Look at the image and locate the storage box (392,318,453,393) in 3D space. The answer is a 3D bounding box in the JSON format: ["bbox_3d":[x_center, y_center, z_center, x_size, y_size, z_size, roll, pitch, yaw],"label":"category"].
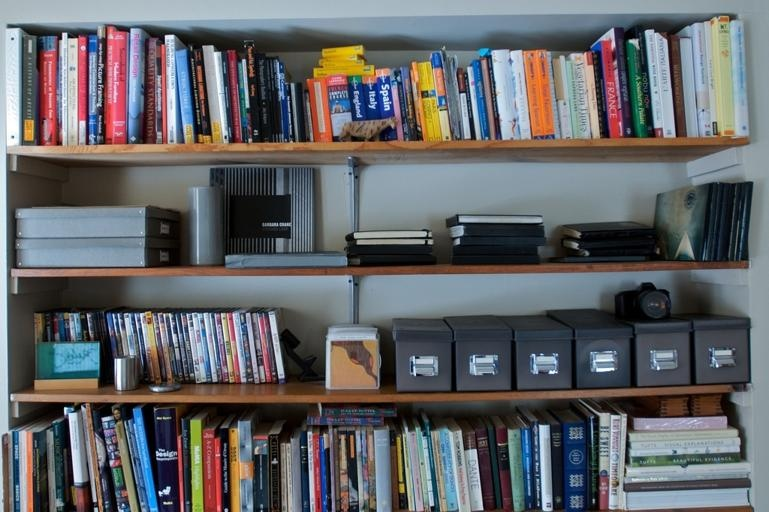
[{"bbox_3d":[0.163,0.408,3.057,0.248,0.248,0.399,0,5,5],"label":"storage box"}]

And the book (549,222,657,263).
[{"bbox_3d":[0.912,-0.053,2.981,0.287,0.088,0.221,-2,3,-3],"label":"book"}]

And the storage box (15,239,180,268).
[{"bbox_3d":[-1.188,-0.011,2.885,0.535,0.126,0.037,-2,-7,-2],"label":"storage box"}]

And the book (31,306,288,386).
[{"bbox_3d":[-0.812,0.351,3.119,1.048,0.286,0.322,-1,-3,-4],"label":"book"}]

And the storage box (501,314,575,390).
[{"bbox_3d":[0.605,0.410,3.075,0.239,0.241,0.418,-1,1,-6],"label":"storage box"}]

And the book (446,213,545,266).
[{"bbox_3d":[0.444,-0.063,2.885,0.341,0.140,0.218,0,-1,-6],"label":"book"}]

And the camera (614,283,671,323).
[{"bbox_3d":[1.072,0.180,3.016,0.235,0.134,0.179,-2,3,9],"label":"camera"}]

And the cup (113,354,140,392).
[{"bbox_3d":[-1.016,0.473,2.958,0.130,0.131,0.127,1,2,0],"label":"cup"}]

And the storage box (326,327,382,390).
[{"bbox_3d":[-0.119,0.419,3.031,0.262,0.226,0.231,-1,2,2],"label":"storage box"}]

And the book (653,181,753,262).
[{"bbox_3d":[1.277,-0.126,2.943,0.398,0.315,0.187,-6,-8,32],"label":"book"}]
